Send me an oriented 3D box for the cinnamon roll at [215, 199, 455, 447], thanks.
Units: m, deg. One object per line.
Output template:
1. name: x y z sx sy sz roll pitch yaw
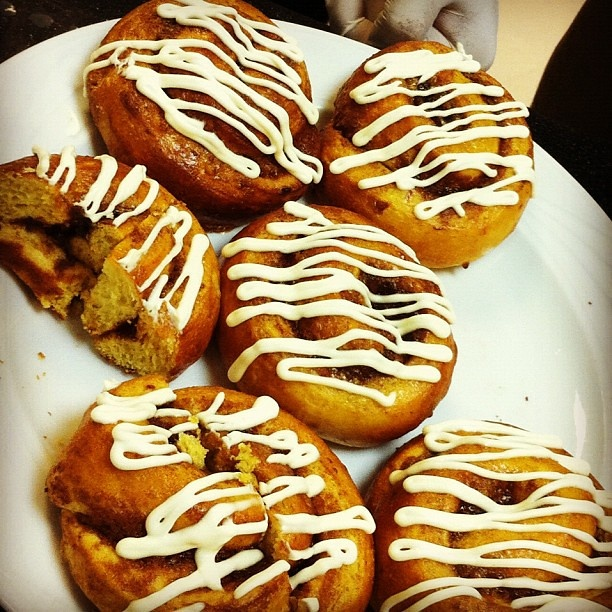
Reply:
1. cinnamon roll: 0.048 0.051 1.776 0.711 0.350 0.569 -8 27 -15

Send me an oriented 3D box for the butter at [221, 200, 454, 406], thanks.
1. butter: 0.075 0.005 1.776 0.551 0.140 0.372 13 66 -18

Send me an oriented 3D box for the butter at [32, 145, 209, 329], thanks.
1. butter: -0.400 -0.129 1.705 0.403 0.245 0.413 -12 33 -24
